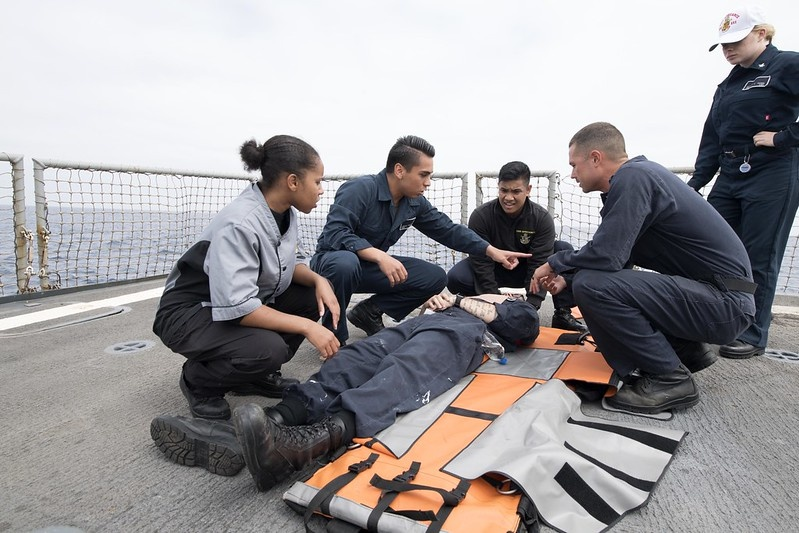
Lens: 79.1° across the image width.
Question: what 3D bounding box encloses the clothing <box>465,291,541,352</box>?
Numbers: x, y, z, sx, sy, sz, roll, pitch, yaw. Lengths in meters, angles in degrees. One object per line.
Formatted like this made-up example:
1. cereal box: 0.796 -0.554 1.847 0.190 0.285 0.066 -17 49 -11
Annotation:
1. clothing: 0.679 0.394 3.177 0.389 0.178 0.344 22 45 29

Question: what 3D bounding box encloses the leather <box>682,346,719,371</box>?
1. leather: 1.780 0.553 2.891 0.166 0.124 0.084 18 7 -10

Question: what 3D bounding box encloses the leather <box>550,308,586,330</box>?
1. leather: 1.364 0.427 4.047 0.349 0.239 0.118 2 22 18

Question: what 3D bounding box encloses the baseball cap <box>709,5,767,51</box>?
1. baseball cap: 2.288 -1.634 3.281 0.312 0.248 0.338 5 14 35

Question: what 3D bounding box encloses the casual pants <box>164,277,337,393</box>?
1. casual pants: -0.864 0.288 2.718 0.767 0.393 0.730 15 15 -12

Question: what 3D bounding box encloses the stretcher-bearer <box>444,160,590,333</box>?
1. stretcher-bearer: 1.009 -0.212 4.610 1.417 1.767 1.308 -2 9 4

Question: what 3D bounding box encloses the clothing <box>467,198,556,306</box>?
1. clothing: 1.007 -0.164 4.519 0.865 1.070 0.904 1 12 16

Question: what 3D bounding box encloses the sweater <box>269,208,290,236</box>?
1. sweater: -0.691 -0.253 2.746 0.128 0.159 0.089 13 12 11

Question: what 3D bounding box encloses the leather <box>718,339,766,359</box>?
1. leather: 2.394 0.578 3.401 0.320 0.151 0.121 2 0 0

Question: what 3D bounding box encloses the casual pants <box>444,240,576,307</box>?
1. casual pants: 0.835 0.115 4.371 0.953 0.467 0.623 4 5 17

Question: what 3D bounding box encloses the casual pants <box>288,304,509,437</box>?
1. casual pants: 0.007 0.532 2.655 0.438 0.262 1.126 9 22 41
